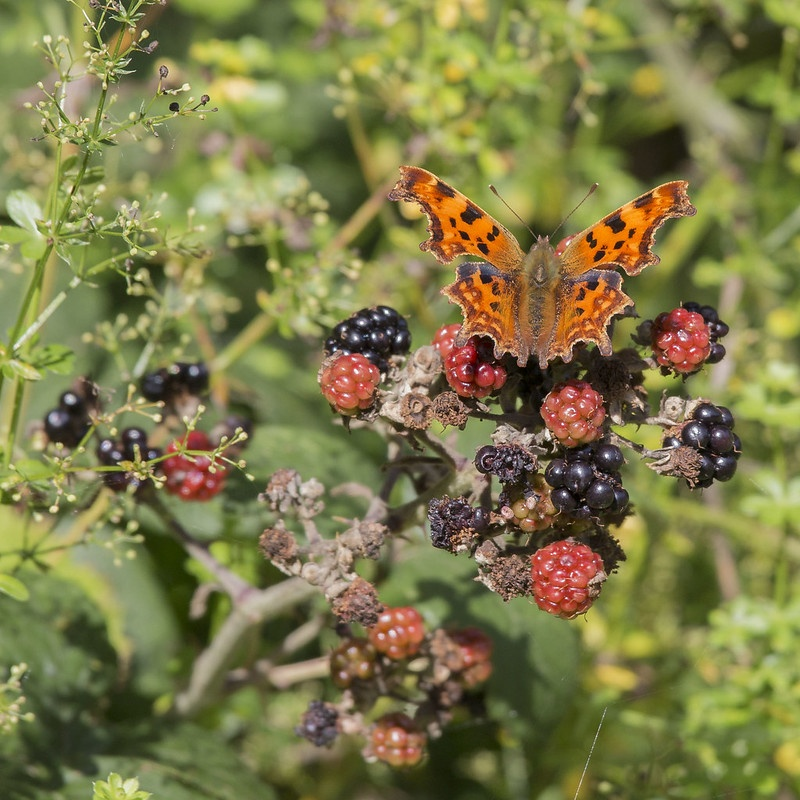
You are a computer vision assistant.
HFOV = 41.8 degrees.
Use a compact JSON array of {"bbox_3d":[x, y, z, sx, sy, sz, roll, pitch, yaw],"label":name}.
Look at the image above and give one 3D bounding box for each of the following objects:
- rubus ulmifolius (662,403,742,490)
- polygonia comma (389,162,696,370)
[{"bbox_3d":[0.657,0.094,2.286,0.178,0.160,0.194,8,52,-3],"label":"rubus ulmifolius"},{"bbox_3d":[0.319,-0.297,2.337,0.771,0.336,0.276,11,70,7],"label":"polygonia comma"}]
